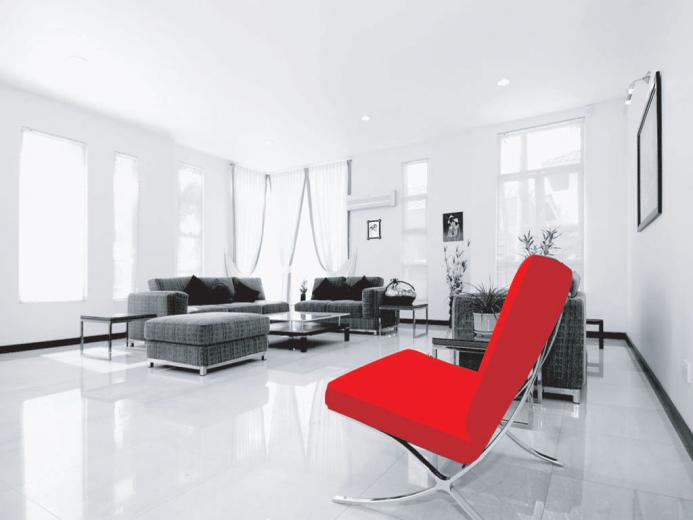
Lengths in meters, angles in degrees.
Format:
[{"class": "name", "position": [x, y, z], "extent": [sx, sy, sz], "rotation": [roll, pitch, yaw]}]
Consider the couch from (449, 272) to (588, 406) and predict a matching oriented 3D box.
[{"class": "couch", "position": [1.566, 0.773, 4.075], "extent": [1.318, 1.134, 0.966], "rotation": [-1, -2, 36]}]

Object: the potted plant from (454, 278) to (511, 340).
[{"class": "potted plant", "position": [1.116, 0.404, 3.940], "extent": [0.429, 0.427, 0.452], "rotation": [2, 0, 27]}]

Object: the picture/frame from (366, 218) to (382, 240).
[{"class": "picture/frame", "position": [0.521, -0.569, 8.534], "extent": [0.365, 0.486, 0.032], "rotation": [2, 3, 36]}]

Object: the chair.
[{"class": "chair", "position": [0.749, 0.680, 3.171], "extent": [1.430, 1.976, 1.300], "rotation": [3, 1, 27]}]

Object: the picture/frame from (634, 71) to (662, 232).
[{"class": "picture/frame", "position": [2.981, -0.997, 4.498], "extent": [0.131, 0.946, 1.525], "rotation": [-2, -2, 30]}]

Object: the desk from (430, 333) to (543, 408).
[{"class": "desk", "position": [1.168, 0.784, 3.713], "extent": [0.630, 0.702, 0.667], "rotation": [-2, -4, 28]}]

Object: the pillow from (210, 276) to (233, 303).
[{"class": "pillow", "position": [-2.005, 0.500, 7.305], "extent": [0.083, 0.361, 0.370], "rotation": [-16, -5, -9]}]
